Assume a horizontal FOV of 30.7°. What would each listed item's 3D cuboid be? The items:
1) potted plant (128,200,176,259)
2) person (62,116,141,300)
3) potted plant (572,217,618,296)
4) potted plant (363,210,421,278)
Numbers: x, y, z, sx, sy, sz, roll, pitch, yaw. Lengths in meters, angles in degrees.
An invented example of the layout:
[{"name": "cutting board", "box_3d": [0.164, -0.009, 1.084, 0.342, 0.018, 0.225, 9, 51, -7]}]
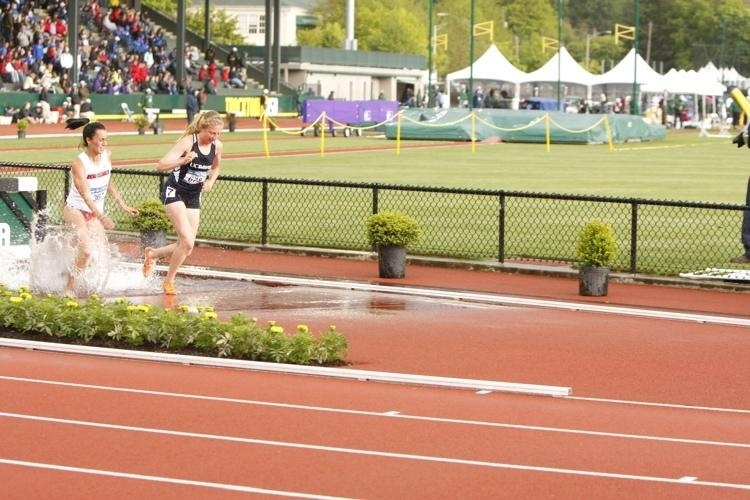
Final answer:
[{"name": "potted plant", "box_3d": [-3.807, -0.359, 22.959, 0.903, 0.990, 0.883, 0, 6, -10]}, {"name": "person", "box_3d": [-4.075, -0.654, 19.444, 0.810, 2.444, 1.007, -2, 15, -13]}, {"name": "potted plant", "box_3d": [3.354, 0.145, 20.737, 0.549, 1.082, 0.638, 3, 14, 10]}, {"name": "potted plant", "box_3d": [0.278, -0.067, 21.859, 0.844, 1.011, 0.606, 1, 14, -1]}]
